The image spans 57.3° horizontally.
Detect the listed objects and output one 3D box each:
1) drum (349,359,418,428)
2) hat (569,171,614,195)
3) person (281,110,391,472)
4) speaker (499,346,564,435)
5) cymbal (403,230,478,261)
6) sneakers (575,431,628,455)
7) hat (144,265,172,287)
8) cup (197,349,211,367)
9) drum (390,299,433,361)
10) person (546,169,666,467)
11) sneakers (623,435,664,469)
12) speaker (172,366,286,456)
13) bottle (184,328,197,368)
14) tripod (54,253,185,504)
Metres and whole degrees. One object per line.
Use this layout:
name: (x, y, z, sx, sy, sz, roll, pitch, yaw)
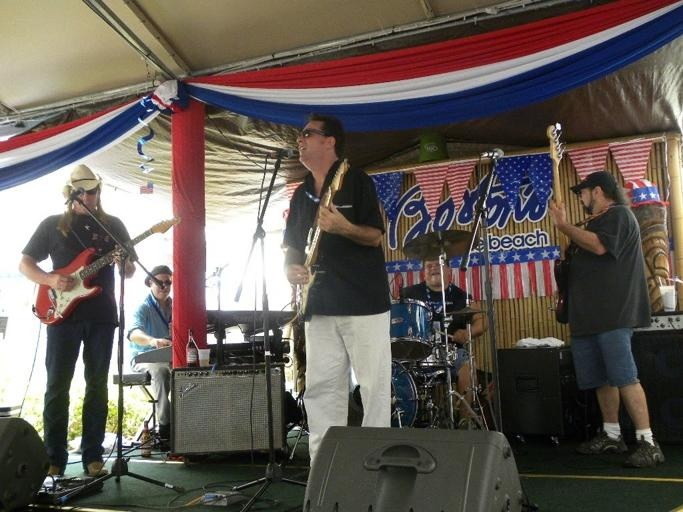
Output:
drum: (0.398, 1.252, 5.570, 0.715, 0.675, 0.434, 11, -21, -18)
hat: (2.039, -0.598, 5.100, 0.276, 0.162, 0.181, 4, 2, 23)
person: (-0.056, 0.132, 3.788, 0.686, 2.097, 0.496, -8, -13, 24)
speaker: (1.790, 1.277, 5.902, 0.618, 0.769, 0.619, -5, -8, 29)
cymbal: (0.839, -0.089, 5.534, 0.350, 0.082, 0.353, -16, -31, 16)
sneakers: (2.061, 1.526, 5.072, 0.446, 0.215, 0.159, 1, -14, 4)
hat: (-1.749, 0.204, 6.046, 0.193, 0.062, 0.194, -18, -30, 3)
cup: (-1.196, 0.896, 5.486, 0.090, 0.152, 0.104, 2, -13, -20)
drum: (0.522, 0.690, 5.583, 0.524, 0.492, 0.525, -1, -24, 3)
person: (2.047, 0.450, 4.910, 0.691, 2.276, 0.681, -2, -12, -3)
sneakers: (2.119, 1.437, 4.498, 0.381, 0.186, 0.141, 14, -26, -41)
speaker: (-0.922, 1.226, 5.370, 1.080, 0.860, 0.688, 0, -12, -5)
bottle: (-1.310, 0.823, 5.551, 0.104, 0.324, 0.159, 2, -13, -19)
tripod: (-1.547, 0.857, 4.489, 0.784, 1.642, 0.447, 3, -13, -23)
